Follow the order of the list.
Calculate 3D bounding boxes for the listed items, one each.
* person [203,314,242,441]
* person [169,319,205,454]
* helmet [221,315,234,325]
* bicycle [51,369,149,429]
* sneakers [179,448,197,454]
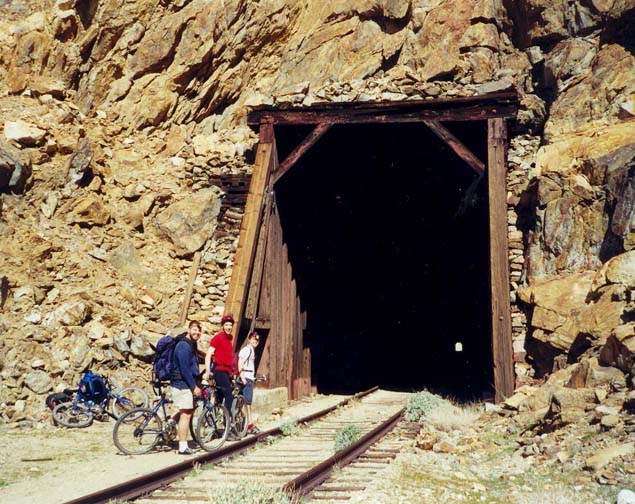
[{"bbox_3d":[-2.114,2.910,15.779,0.836,2.881,1.290,-18,-31,22],"label":"person"},{"bbox_3d":[-2.697,2.767,14.311,0.622,2.643,0.863,-1,5,-9],"label":"person"},{"bbox_3d":[-2.041,1.546,15.835,0.284,0.169,0.438,2,-20,-5],"label":"helmet"},{"bbox_3d":[-5.245,3.495,16.505,1.964,1.321,0.930,-5,-14,30],"label":"bicycle"},{"bbox_3d":[-2.611,4.003,14.039,0.362,0.172,0.133,1,-5,1],"label":"sneakers"}]
